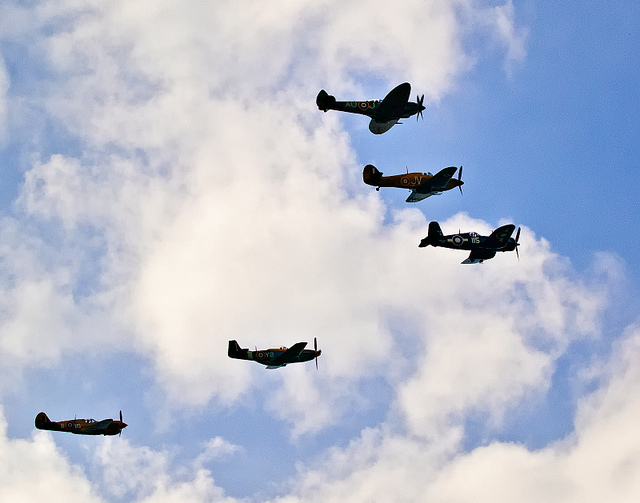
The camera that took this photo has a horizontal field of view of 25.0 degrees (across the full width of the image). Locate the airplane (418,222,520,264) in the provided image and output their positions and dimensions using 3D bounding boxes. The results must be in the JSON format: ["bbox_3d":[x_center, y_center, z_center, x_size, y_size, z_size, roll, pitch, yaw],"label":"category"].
[{"bbox_3d":[15.819,-0.781,148.908,8.815,2.394,4.848,1,-63,-1],"label":"airplane"}]
